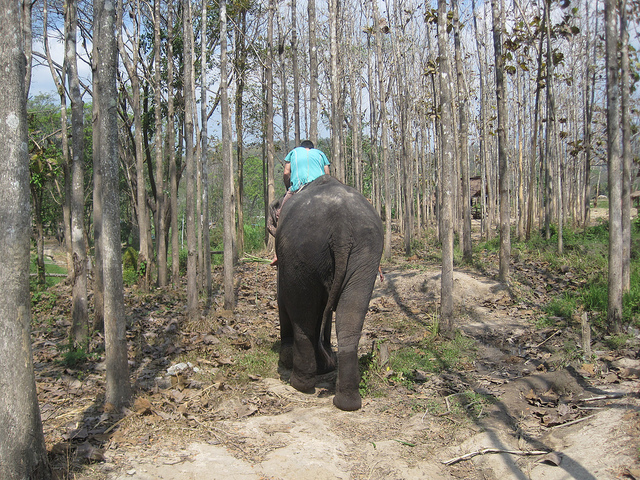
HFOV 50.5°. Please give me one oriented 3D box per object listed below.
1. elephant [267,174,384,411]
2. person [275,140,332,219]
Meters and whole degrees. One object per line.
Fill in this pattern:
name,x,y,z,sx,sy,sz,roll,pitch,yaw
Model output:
elephant,0.141,0.790,10.032,1.529,3.291,0.846,-1,6,4
person,-0.252,-0.858,10.950,0.712,1.681,0.838,-1,-13,30
